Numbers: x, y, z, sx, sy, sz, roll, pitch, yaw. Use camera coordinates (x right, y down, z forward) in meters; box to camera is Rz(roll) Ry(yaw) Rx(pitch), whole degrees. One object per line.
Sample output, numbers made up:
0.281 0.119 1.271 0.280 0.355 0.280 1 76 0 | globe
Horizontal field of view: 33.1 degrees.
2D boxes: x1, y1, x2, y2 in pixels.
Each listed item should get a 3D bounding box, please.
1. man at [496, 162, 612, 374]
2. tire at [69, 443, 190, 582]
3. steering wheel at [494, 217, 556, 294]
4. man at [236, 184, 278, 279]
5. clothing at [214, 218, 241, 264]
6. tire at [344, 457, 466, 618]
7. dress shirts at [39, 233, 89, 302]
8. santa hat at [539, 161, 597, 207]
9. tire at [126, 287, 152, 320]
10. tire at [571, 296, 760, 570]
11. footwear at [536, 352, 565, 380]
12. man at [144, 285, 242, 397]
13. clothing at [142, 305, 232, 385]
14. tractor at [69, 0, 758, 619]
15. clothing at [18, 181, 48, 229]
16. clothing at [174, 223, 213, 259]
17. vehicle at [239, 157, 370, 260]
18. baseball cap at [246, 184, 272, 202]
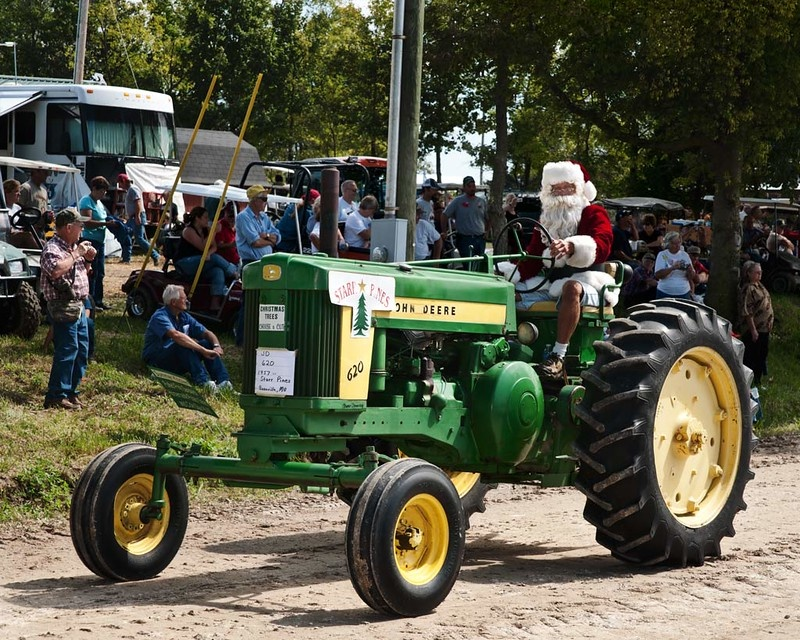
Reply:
1.352 -0.460 11.946 1.083 2.027 1.093 5 -5 -44 | man
-2.106 1.587 10.557 0.302 0.788 0.714 -11 23 38 | tire
1.063 -0.537 11.789 0.604 0.675 0.093 2 10 34 | steering wheel
-1.781 -0.856 16.775 0.529 1.620 0.493 -1 4 -37 | man
-2.284 -1.007 17.744 0.331 0.640 0.539 -3 5 16 | clothing
0.027 1.680 9.907 0.975 1.013 0.313 5 -14 -45 | tire
-3.386 -0.494 13.602 0.378 0.671 0.729 1 6 22 | dress shirts
1.630 -1.239 12.111 0.251 0.291 0.348 10 -3 -39 | santa hat
-3.486 -0.186 18.040 0.393 0.436 0.141 -3 -4 44 | tire
2.145 1.004 11.053 2.057 2.242 0.688 -1 0 -45 | tire
1.290 0.427 11.382 0.123 0.168 0.326 1 -3 35 | footwear
-2.372 0.297 14.730 1.173 1.266 0.856 3 3 26 | man
-2.329 0.309 14.873 1.070 0.933 0.828 6 2 12 | clothing
0.526 0.390 11.219 3.191 3.718 4.844 -2 -5 40 | tractor
-5.074 -1.573 18.711 0.310 0.722 0.575 8 2 24 | clothing
-2.714 -1.038 17.695 0.416 0.494 0.430 3 9 18 | clothing
-1.644 -1.661 18.444 1.737 1.128 1.038 -11 1 -16 | vehicle
-1.772 -1.562 16.730 0.237 0.138 0.191 -17 4 20 | baseball cap
